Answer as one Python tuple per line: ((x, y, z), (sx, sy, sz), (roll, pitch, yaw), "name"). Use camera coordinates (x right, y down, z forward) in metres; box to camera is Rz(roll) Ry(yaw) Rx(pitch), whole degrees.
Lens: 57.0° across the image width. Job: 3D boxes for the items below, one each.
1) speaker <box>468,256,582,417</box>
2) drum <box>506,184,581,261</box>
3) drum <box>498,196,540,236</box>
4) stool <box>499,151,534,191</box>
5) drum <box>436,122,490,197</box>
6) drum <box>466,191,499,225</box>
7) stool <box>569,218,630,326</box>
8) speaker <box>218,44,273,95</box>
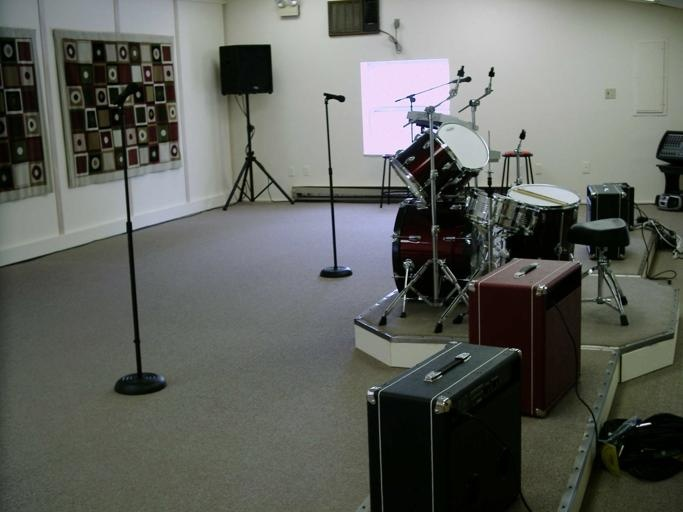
((1.037, 0.305, 3.793), (0.459, 0.837, 0.888), (3, 28, 20), "speaker")
((1.594, -0.310, 5.077), (0.575, 0.643, 0.617), (9, 23, 22), "drum")
((1.285, -0.263, 4.447), (0.311, 0.139, 0.370), (-1, 14, -41), "drum")
((2.528, -1.247, 9.056), (0.461, 0.596, 0.825), (3, 16, 17), "stool")
((0.927, -0.631, 4.675), (0.413, 0.265, 0.406), (-23, 7, 3), "drum")
((0.961, -0.340, 4.351), (0.205, 0.174, 0.216), (21, 20, 19), "drum")
((1.901, 0.079, 4.643), (0.442, 0.705, 0.467), (-1, 14, 15), "stool")
((-1.471, -2.862, 9.516), (0.487, 0.728, 0.701), (9, 12, 40), "speaker")
